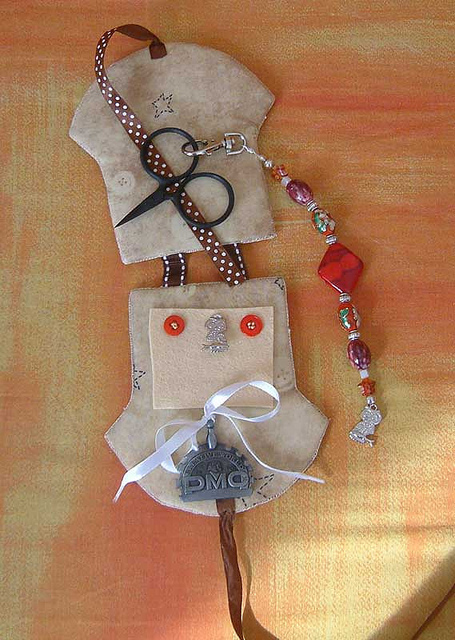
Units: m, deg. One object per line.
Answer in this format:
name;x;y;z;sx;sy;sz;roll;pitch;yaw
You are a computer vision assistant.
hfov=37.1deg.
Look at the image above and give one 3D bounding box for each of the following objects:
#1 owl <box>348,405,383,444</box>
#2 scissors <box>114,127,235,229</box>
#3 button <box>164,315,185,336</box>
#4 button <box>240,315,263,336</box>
owl;0.245;0.185;1.211;0.048;0.016;0.069;33;98;3
scissors;-0.080;-0.234;1.198;0.188;0.068;0.185;18;81;1
button;-0.095;0.008;1.187;0.034;0.008;0.037;1;81;-1
button;0.041;0.009;1.193;0.038;0.012;0.037;41;83;5
